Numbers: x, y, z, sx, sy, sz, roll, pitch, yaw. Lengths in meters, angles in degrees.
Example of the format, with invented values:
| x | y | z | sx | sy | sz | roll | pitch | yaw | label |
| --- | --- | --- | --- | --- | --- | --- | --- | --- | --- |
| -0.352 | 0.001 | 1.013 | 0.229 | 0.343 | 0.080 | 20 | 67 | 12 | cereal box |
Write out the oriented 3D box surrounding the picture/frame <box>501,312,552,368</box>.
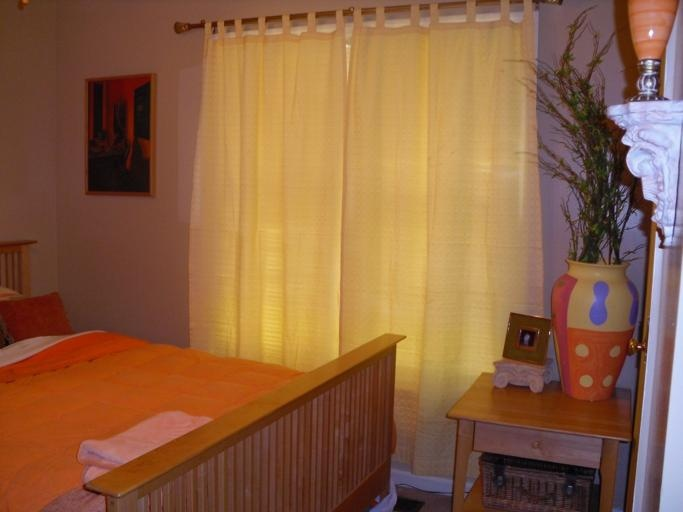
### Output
| x | y | z | sx | sy | sz | roll | pitch | yaw | label |
| --- | --- | --- | --- | --- | --- | --- | --- | --- | --- |
| 0.881 | 0.402 | 2.738 | 0.216 | 0.276 | 0.033 | 7 | -13 | 31 | picture/frame |

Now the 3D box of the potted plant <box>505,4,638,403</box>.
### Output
| x | y | z | sx | sy | sz | roll | pitch | yaw | label |
| --- | --- | --- | --- | --- | --- | --- | --- | --- | --- |
| 1.150 | -0.285 | 2.699 | 0.560 | 1.866 | 0.779 | 3 | 8 | 16 | potted plant |
